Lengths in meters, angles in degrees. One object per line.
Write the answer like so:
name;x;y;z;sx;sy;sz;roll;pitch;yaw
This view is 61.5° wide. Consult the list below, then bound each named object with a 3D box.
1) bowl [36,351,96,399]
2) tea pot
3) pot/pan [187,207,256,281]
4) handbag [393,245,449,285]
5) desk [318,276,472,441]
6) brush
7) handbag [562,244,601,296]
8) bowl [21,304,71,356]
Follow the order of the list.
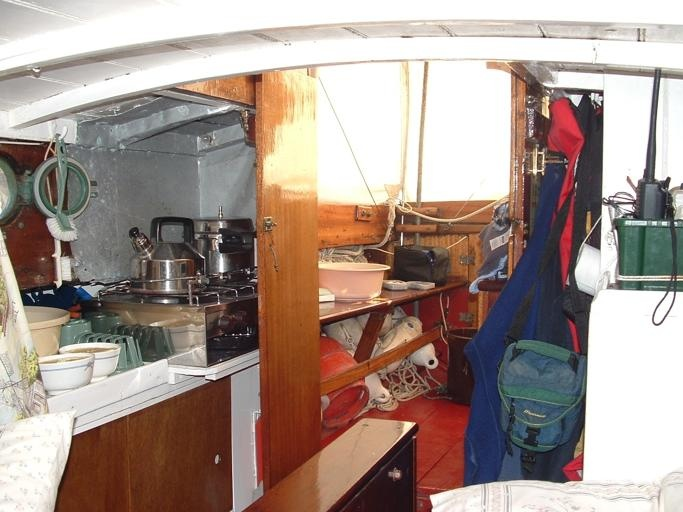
bowl;-0.944;0.408;1.979;0.151;0.091;0.147;1;3;0
tea pot;-0.815;-0.009;2.590;0.306;0.346;0.409;4;4;31
pot/pan;-0.571;-0.070;2.913;0.379;0.304;0.283;2;4;31
handbag;0.664;0.060;4.751;0.536;0.350;0.292;4;1;38
desk;0.267;0.660;3.990;0.348;0.857;1.919;3;7;31
brush;-1.209;-0.275;2.440;0.112;0.450;0.383;-5;7;-26
handbag;1.020;0.055;2.447;0.169;0.176;0.146;-10;-7;24
bowl;-1.079;0.255;2.155;0.220;0.105;0.205;2;1;0
